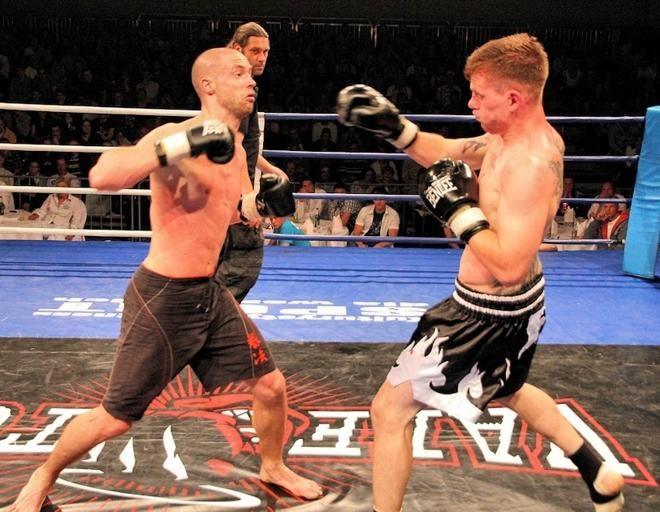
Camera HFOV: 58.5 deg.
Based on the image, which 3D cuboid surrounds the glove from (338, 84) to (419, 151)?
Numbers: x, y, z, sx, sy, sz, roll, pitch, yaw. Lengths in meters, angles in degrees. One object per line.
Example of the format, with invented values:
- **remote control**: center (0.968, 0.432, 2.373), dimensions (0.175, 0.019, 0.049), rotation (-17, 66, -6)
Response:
- **glove**: center (0.162, -0.536, 2.428), dimensions (0.365, 0.141, 0.233), rotation (23, 45, 0)

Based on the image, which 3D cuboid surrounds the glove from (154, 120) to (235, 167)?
- **glove**: center (-0.454, -0.383, 2.037), dimensions (0.254, 0.143, 0.086), rotation (-17, -16, -23)

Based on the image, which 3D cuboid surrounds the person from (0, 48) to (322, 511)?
- **person**: center (-0.578, 0.083, 2.244), dimensions (1.071, 1.757, 0.464), rotation (-1, 12, -22)
